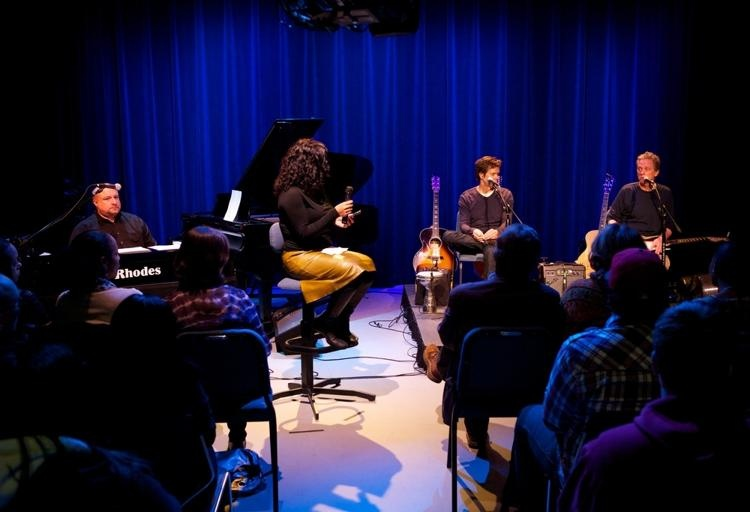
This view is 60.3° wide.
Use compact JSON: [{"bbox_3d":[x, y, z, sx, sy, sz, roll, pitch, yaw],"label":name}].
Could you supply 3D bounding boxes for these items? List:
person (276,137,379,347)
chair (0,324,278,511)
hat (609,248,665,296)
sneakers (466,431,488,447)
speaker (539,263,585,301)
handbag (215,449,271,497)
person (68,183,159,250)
[{"bbox_3d":[-0.393,-0.087,4.729,0.559,1.519,0.727,-6,11,-31],"label":"person"},{"bbox_3d":[-1.132,0.761,3.539,0.754,1.431,0.894,0,29,-5],"label":"chair"},{"bbox_3d":[1.209,0.019,3.009,0.213,0.094,0.298,-8,22,22],"label":"hat"},{"bbox_3d":[0.667,1.171,4.149,0.091,0.075,0.115,1,-8,5],"label":"sneakers"},{"bbox_3d":[1.692,0.238,5.732,0.350,0.324,0.232,1,-12,13],"label":"speaker"},{"bbox_3d":[-0.755,1.258,3.865,0.330,0.130,0.259,18,10,-1],"label":"handbag"},{"bbox_3d":[-2.419,-0.381,5.894,0.443,0.742,0.829,2,8,40],"label":"person"}]
